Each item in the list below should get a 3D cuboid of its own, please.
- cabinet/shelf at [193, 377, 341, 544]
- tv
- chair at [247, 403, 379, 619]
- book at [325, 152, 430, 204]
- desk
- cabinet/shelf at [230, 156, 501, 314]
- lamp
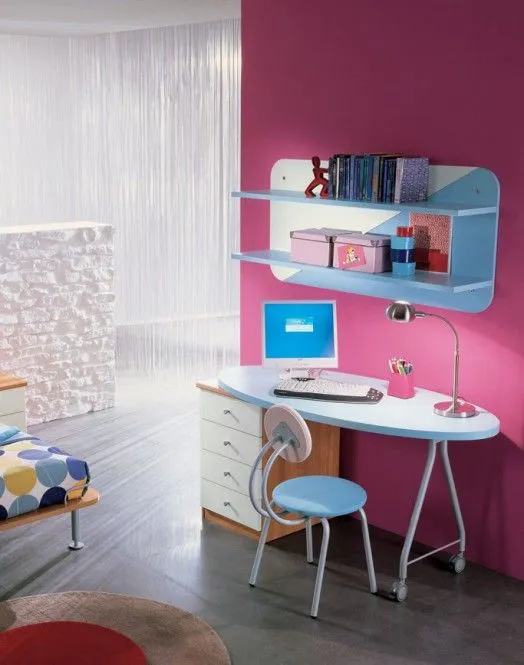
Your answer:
[{"bbox_3d":[0.009,0.585,2.690,0.631,0.618,0.613,4,4,18],"label":"cabinet/shelf"},{"bbox_3d":[0.163,0.026,2.499,0.367,0.318,0.136,0,-4,4],"label":"tv"},{"bbox_3d":[0.152,0.556,1.896,0.453,0.624,0.329,-1,4,-42],"label":"chair"},{"bbox_3d":[0.429,-0.595,2.274,0.426,0.206,0.205,1,0,40],"label":"book"},{"bbox_3d":[0.378,0.597,2.216,0.349,0.390,0.796,-8,12,-42],"label":"desk"},{"bbox_3d":[0.407,-0.361,2.376,0.391,0.596,1.125,1,0,-40],"label":"cabinet/shelf"},{"bbox_3d":[0.650,0.098,2.158,0.310,0.419,0.435,2,0,19],"label":"lamp"}]
